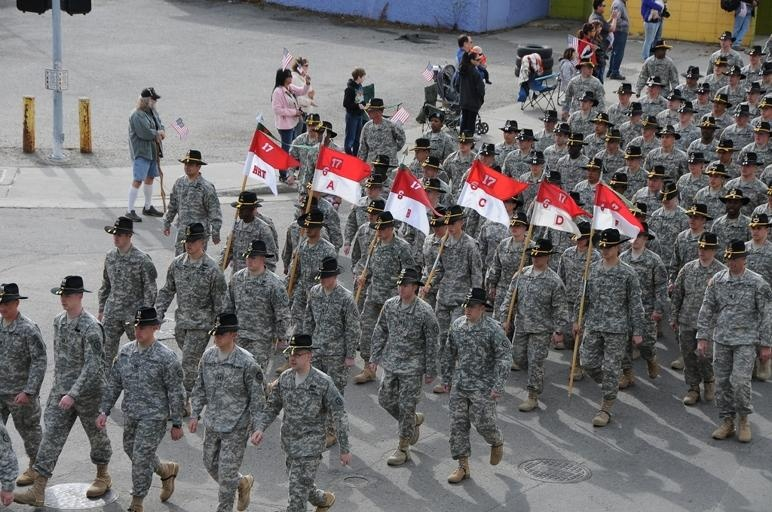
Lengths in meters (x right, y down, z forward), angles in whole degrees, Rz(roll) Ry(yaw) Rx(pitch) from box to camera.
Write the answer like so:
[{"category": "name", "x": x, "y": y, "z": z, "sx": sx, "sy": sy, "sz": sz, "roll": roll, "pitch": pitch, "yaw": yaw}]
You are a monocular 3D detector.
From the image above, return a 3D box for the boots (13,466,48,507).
[{"category": "boots", "x": -6.050, "y": 3.956, "z": 23.913, "sx": 0.515, "sy": 0.590, "sz": 0.243, "roll": 3, "pitch": 17, "yaw": -2}]

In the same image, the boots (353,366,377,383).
[{"category": "boots", "x": -0.359, "y": 2.336, "z": 27.373, "sx": 0.415, "sy": 0.258, "sz": 0.401, "roll": 3, "pitch": 14, "yaw": -1}]

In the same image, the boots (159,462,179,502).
[{"category": "boots", "x": -3.769, "y": 3.883, "z": 24.244, "sx": 0.395, "sy": 0.664, "sz": 0.277, "roll": 4, "pitch": 14, "yaw": -29}]

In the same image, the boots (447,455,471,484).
[{"category": "boots", "x": 1.362, "y": 3.751, "z": 24.798, "sx": 0.378, "sy": 0.442, "sz": 0.496, "roll": 6, "pitch": 15, "yaw": 10}]

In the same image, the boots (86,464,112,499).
[{"category": "boots", "x": -4.960, "y": 3.847, "z": 24.237, "sx": 0.324, "sy": 0.500, "sz": 0.637, "roll": 8, "pitch": 13, "yaw": 17}]

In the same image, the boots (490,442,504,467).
[{"category": "boots", "x": 2.037, "y": 3.531, "z": 24.978, "sx": 0.198, "sy": 0.399, "sz": 0.219, "roll": 3, "pitch": -12, "yaw": 29}]

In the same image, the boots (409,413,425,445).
[{"category": "boots", "x": 0.544, "y": 3.113, "z": 25.388, "sx": 0.250, "sy": 0.544, "sz": 0.283, "roll": 13, "pitch": 4, "yaw": 29}]

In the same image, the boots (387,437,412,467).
[{"category": "boots", "x": 0.282, "y": 3.506, "z": 25.107, "sx": 0.395, "sy": 0.447, "sz": 0.325, "roll": 4, "pitch": 16, "yaw": 0}]

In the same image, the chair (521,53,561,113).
[{"category": "chair", "x": 4.420, "y": -4.868, "z": 40.502, "sx": 1.814, "sy": 1.841, "sz": 0.868, "roll": 6, "pitch": -19, "yaw": -5}]
